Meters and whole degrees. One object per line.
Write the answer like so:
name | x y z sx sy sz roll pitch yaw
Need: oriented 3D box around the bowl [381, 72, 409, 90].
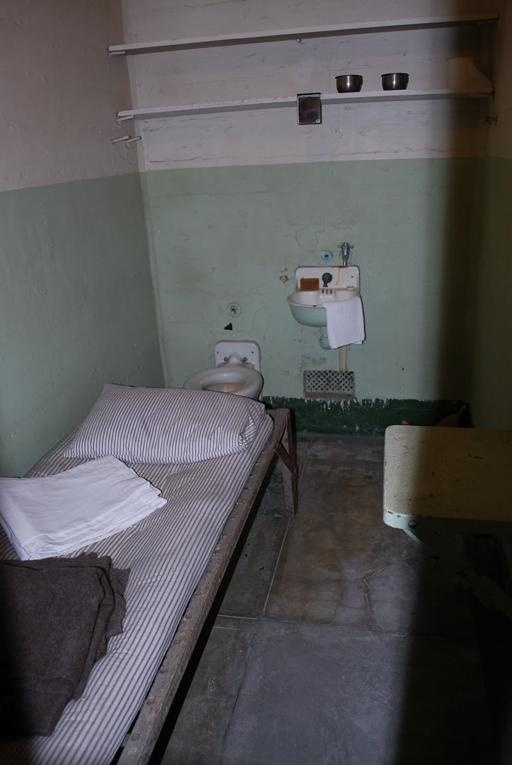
bowl | 0.637 -1.357 2.653 0.098 0.048 0.097 -2 26 1

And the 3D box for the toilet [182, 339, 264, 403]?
toilet | -0.159 0.019 3.174 0.385 0.343 0.554 0 24 11

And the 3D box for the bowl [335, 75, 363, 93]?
bowl | 0.422 -1.364 2.674 0.101 0.064 0.104 -3 29 2

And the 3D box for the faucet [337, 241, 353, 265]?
faucet | 0.475 -0.685 3.114 0.074 0.119 0.039 -3 19 3

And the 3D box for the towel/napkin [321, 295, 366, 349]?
towel/napkin | 0.448 -0.308 3.045 0.276 0.254 0.081 -17 23 -33
